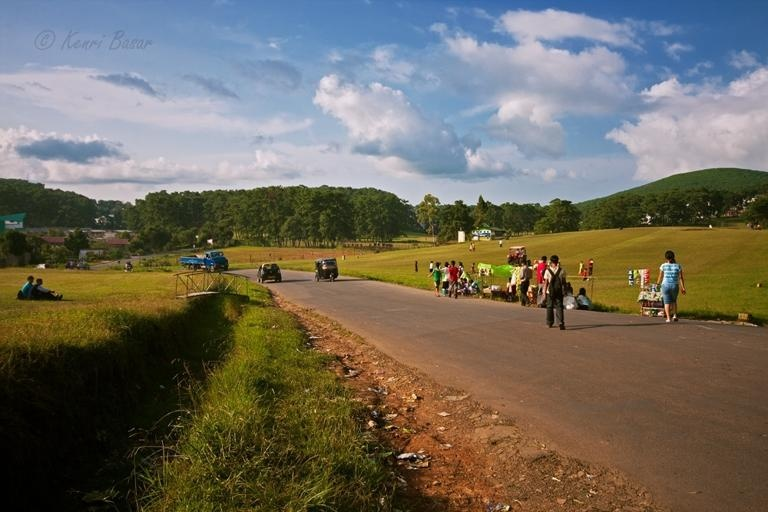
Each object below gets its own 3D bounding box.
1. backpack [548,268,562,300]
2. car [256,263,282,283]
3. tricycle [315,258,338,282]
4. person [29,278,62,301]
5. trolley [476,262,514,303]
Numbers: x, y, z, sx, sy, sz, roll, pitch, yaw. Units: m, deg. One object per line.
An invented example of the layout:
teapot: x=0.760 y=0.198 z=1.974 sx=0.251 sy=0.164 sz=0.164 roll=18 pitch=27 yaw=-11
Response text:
backpack: x=5.963 y=0.948 z=20.569 sx=0.518 sy=1.002 sz=0.316 roll=-1 pitch=6 yaw=11
car: x=-9.617 y=1.374 z=49.523 sx=1.288 sy=1.105 sz=2.226 roll=0 pitch=4 yaw=-18
tricycle: x=-4.625 y=1.072 z=48.086 sx=1.273 sy=1.305 sz=2.207 roll=1 pitch=-4 yaw=-19
person: x=-14.305 y=1.317 z=25.009 sx=1.052 sy=0.972 sz=2.028 roll=-6 pitch=7 yaw=-30
trolley: x=7.062 y=1.247 z=36.096 sx=1.597 sy=1.260 sz=1.218 roll=-10 pitch=7 yaw=2
